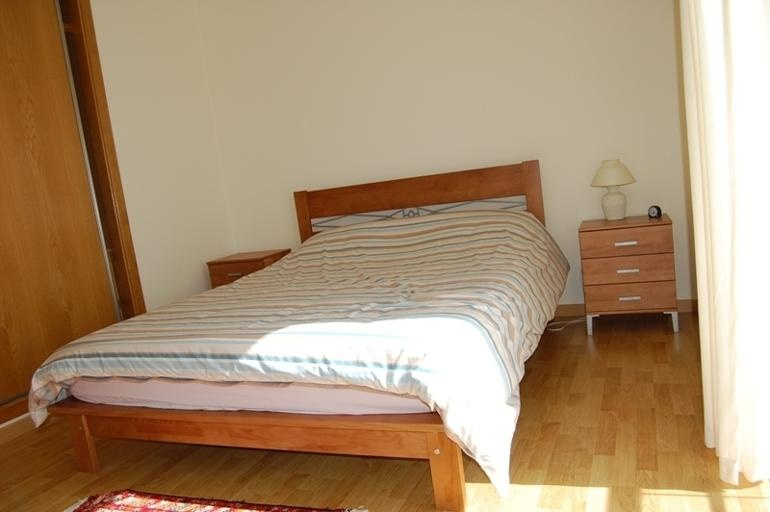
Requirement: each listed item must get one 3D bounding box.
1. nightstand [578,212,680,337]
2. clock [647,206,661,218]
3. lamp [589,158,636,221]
[{"bbox_3d":[1.724,0.161,3.840,0.600,0.793,0.226,-4,17,19],"label":"nightstand"},{"bbox_3d":[1.963,-0.321,3.936,0.127,0.106,0.063,0,2,31],"label":"clock"},{"bbox_3d":[1.619,-0.502,4.121,0.501,0.520,0.470,-1,7,19],"label":"lamp"}]
